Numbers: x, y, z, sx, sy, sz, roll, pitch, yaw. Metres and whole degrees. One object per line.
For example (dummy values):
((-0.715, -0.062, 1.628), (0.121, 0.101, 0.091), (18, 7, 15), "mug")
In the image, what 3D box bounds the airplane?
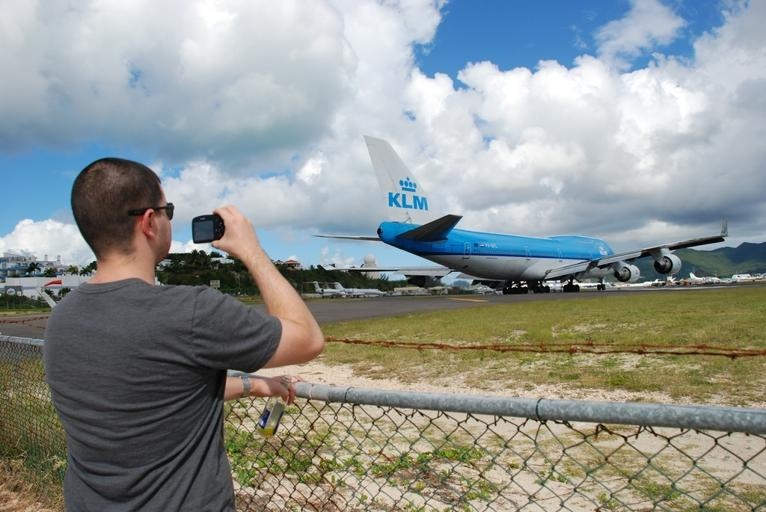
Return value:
((7.555, -1.731, 32.521), (19.988, 8.851, 8.210), (-5, -5, -33), "airplane")
